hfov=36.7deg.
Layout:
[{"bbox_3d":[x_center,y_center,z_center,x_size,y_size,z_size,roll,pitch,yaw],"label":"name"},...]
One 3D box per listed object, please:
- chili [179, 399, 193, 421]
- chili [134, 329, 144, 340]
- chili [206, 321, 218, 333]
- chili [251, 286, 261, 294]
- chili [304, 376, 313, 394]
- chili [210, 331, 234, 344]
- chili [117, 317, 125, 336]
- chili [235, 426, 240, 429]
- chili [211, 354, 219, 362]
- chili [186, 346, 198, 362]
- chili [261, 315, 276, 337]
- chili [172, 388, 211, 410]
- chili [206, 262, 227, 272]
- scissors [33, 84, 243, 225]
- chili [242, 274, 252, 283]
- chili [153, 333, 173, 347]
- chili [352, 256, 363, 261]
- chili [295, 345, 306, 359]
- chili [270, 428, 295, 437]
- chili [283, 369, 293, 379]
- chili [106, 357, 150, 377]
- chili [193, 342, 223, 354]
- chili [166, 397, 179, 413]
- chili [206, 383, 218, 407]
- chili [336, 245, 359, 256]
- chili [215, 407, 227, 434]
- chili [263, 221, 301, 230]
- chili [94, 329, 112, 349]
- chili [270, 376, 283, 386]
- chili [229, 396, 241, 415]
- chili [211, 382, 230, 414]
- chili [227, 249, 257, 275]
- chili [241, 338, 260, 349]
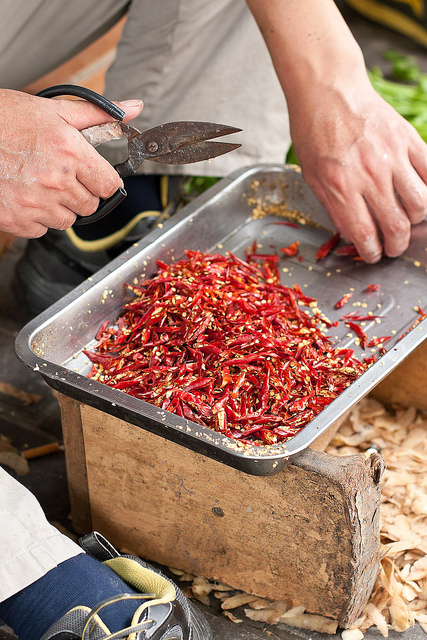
[{"bbox_3d":[-0.049,0.151,1.084,0.012,0.010,0.045,-39,35,2],"label":"chili"},{"bbox_3d":[-0.148,0.029,1.314,0.016,0.008,0.019,25,90,48],"label":"chili"},{"bbox_3d":[-0.001,0.015,1.272,0.017,0.008,0.021,15,48,-26],"label":"chili"},{"bbox_3d":[0.090,-0.066,1.401,0.018,0.005,0.016,31,40,-17],"label":"chili"},{"bbox_3d":[0.170,0.119,1.181,0.011,0.008,0.030,4,55,-28],"label":"chili"},{"bbox_3d":[0.012,0.030,1.244,0.053,0.016,0.019,-16,62,-12],"label":"chili"},{"bbox_3d":[-0.191,0.013,1.337,0.010,0.003,0.037,5,32,4],"label":"chili"},{"bbox_3d":[0.040,0.183,1.097,0.008,0.002,0.006,-2,50,-4],"label":"chili"},{"bbox_3d":[0.003,0.071,1.204,0.013,0.009,0.018,8,50,5],"label":"chili"},{"bbox_3d":[-0.041,0.062,1.217,0.009,0.007,0.032,10,10,-26],"label":"chili"},{"bbox_3d":[0.103,0.012,1.270,0.009,0.027,0.034,-35,47,14],"label":"chili"},{"bbox_3d":[-0.039,0.136,1.106,0.049,0.011,0.012,26,41,10],"label":"chili"},{"bbox_3d":[0.008,-0.123,1.432,0.024,0.014,0.088,27,22,6],"label":"chili"},{"bbox_3d":[-0.160,-0.323,1.195,0.451,0.225,0.055,4,27,28],"label":"scissors"},{"bbox_3d":[0.076,-0.092,1.436,0.009,0.007,0.033,-40,93,6],"label":"chili"},{"bbox_3d":[-0.098,0.038,1.281,0.037,0.010,0.018,-48,48,3],"label":"chili"},{"bbox_3d":[0.339,-0.147,1.533,0.022,0.006,0.010,-1,69,20],"label":"chili"},{"bbox_3d":[0.163,0.062,1.237,0.007,0.007,0.042,47,60,-3],"label":"chili"},{"bbox_3d":[0.114,0.187,1.070,0.027,0.015,0.005,9,71,2],"label":"chili"},{"bbox_3d":[0.133,0.099,1.176,0.007,0.009,0.019,-36,60,-26],"label":"chili"},{"bbox_3d":[-0.161,0.090,1.236,0.058,0.009,0.016,-23,28,6],"label":"chili"},{"bbox_3d":[-0.012,0.052,1.214,0.062,0.016,0.022,13,4,34],"label":"chili"},{"bbox_3d":[-0.067,0.145,1.097,0.008,0.010,0.034,42,33,-5],"label":"chili"},{"bbox_3d":[-0.002,0.127,1.120,0.016,0.010,0.053,14,35,-16],"label":"chili"},{"bbox_3d":[0.320,-0.169,1.556,0.045,0.009,0.022,0,48,11],"label":"chili"},{"bbox_3d":[0.014,0.169,1.069,0.013,0.009,0.039,-12,38,1],"label":"chili"},{"bbox_3d":[0.175,-0.243,1.650,0.077,0.011,0.018,4,22,2],"label":"chili"},{"bbox_3d":[-0.223,0.038,1.324,0.014,0.015,0.057,37,63,-4],"label":"chili"},{"bbox_3d":[0.115,0.109,1.157,0.014,0.004,0.017,-1,33,-33],"label":"chili"},{"bbox_3d":[0.036,0.147,1.117,0.007,0.019,0.027,-20,72,-6],"label":"chili"},{"bbox_3d":[0.009,0.135,1.106,0.017,0.008,0.057,21,32,1],"label":"chili"},{"bbox_3d":[0.066,-0.135,1.501,0.113,0.011,0.017,34,27,11],"label":"chili"},{"bbox_3d":[0.070,0.043,1.208,0.037,0.008,0.012,-15,53,-15],"label":"chili"}]
